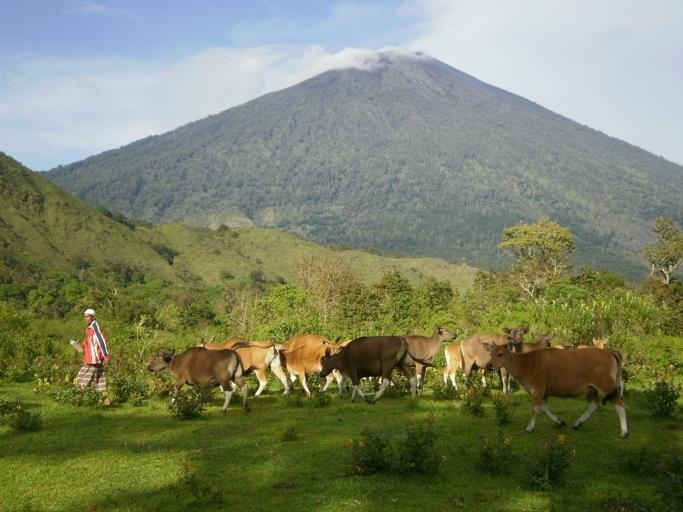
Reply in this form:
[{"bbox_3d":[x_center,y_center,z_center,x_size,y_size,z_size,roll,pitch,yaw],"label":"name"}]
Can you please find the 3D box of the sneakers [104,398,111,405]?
[{"bbox_3d":[-8.293,5.159,22.609,0.296,0.259,0.245,0,-8,-8],"label":"sneakers"}]
